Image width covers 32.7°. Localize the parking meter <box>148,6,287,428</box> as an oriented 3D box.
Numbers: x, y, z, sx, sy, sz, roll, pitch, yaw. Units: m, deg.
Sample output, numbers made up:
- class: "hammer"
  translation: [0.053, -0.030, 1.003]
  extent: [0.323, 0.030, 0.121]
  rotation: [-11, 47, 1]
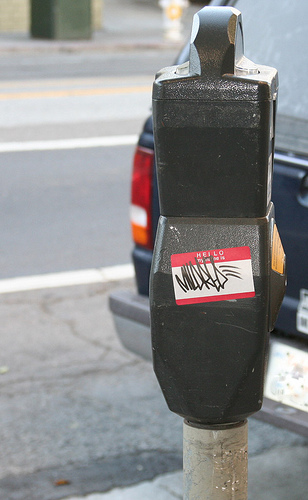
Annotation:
- class: "parking meter"
  translation: [0.143, -0.030, 1.129]
  extent: [0.308, 0.920, 0.217]
  rotation: [0, 13, -2]
